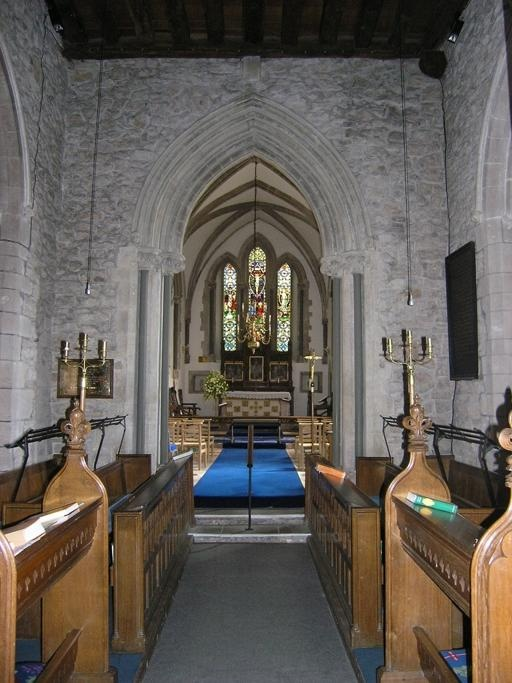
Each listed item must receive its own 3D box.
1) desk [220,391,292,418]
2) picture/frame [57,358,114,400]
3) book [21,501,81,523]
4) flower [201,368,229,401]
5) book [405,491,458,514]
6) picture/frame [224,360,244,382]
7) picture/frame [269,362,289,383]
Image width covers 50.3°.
[{"bbox_3d":[0.069,1.655,14.397,1.799,0.704,3.704,-2,-2,-3],"label":"desk"},{"bbox_3d":[-1.708,0.369,5.403,0.569,0.484,0.042,0,5,-4],"label":"picture/frame"},{"bbox_3d":[-0.734,0.629,2.009,0.148,0.040,0.143,-4,-5,-1],"label":"book"},{"bbox_3d":[-0.984,1.041,13.464,0.482,0.636,1.071,-2,-2,0],"label":"flower"},{"bbox_3d":[0.668,0.624,2.142,0.072,0.039,0.289,-1,-2,-22],"label":"book"},{"bbox_3d":[-0.658,0.899,16.695,0.615,0.744,0.075,0,-14,0],"label":"picture/frame"},{"bbox_3d":[0.687,0.937,16.751,0.597,0.698,0.096,1,-16,-3],"label":"picture/frame"}]
